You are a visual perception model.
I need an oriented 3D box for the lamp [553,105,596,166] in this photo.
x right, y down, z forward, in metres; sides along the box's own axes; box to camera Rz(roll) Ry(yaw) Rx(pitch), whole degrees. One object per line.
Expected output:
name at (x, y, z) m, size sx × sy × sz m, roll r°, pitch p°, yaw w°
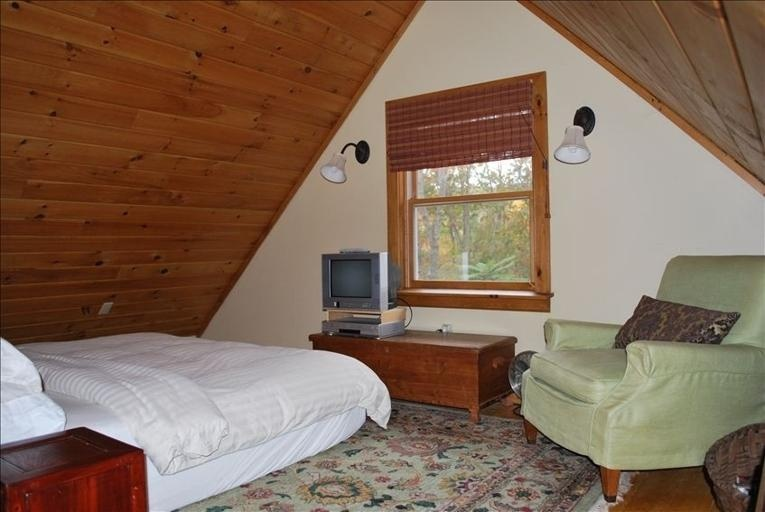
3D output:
lamp at (1.406, -0.902, 3.628) m, size 0.268 × 0.446 × 0.411 m, roll 1°, pitch 5°, yaw 22°

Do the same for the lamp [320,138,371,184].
lamp at (-0.360, -0.862, 4.502) m, size 0.362 × 0.405 × 0.495 m, roll 1°, pitch 5°, yaw 20°

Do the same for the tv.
tv at (-0.132, 0.219, 4.233) m, size 0.691 × 0.503 × 0.506 m, roll 0°, pitch 0°, yaw 36°
